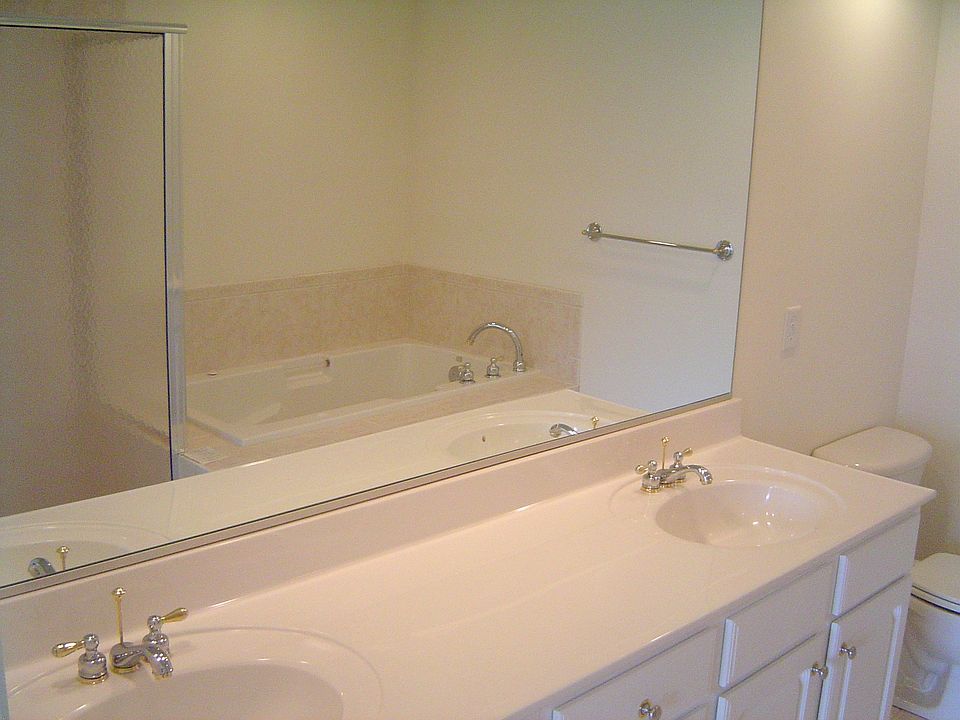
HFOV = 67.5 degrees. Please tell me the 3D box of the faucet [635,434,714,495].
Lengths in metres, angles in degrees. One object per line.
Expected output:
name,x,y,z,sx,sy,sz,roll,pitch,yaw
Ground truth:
faucet,0.483,0.283,1.822,0.152,0.108,0.144,-10,13,-39
